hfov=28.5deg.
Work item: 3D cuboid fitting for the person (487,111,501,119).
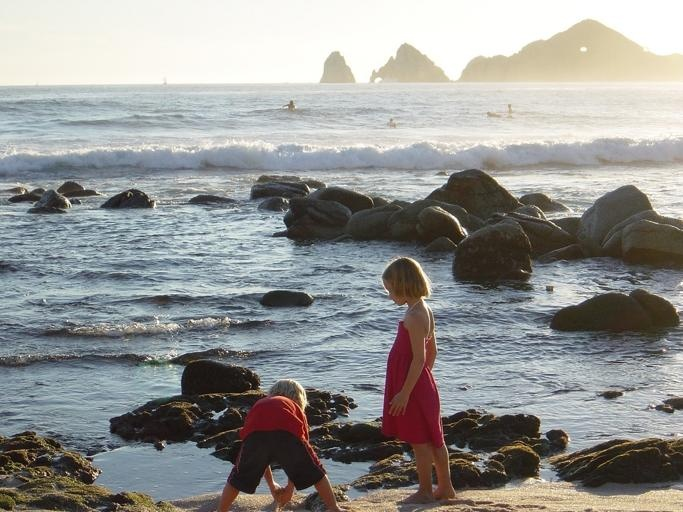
[{"bbox_3d":[8.463,-7.844,74.212,0.632,0.281,0.836,4,0,37],"label":"person"}]
